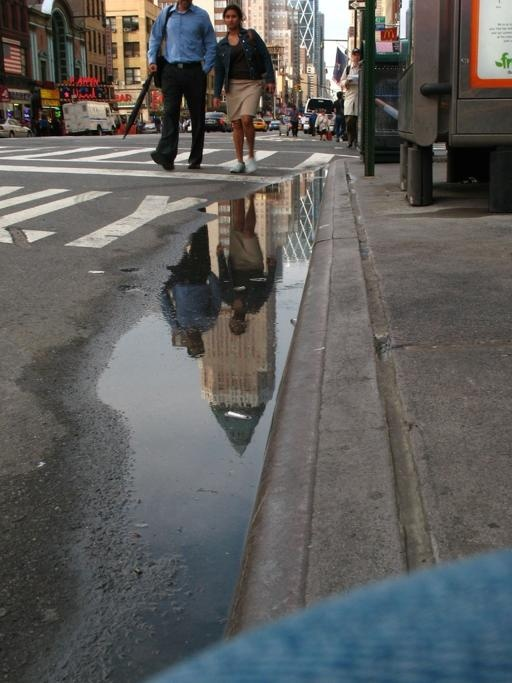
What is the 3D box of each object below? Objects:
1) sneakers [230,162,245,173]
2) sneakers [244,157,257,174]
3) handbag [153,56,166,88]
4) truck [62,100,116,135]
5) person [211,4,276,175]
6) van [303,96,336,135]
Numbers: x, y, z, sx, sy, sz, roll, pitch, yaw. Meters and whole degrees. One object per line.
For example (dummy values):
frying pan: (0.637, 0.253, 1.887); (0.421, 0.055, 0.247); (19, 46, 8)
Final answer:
sneakers: (-0.320, -3.272, 10.430); (0.133, 0.159, 0.373); (16, 41, 30)
sneakers: (-0.099, -3.382, 10.625); (0.164, 0.196, 0.483); (-1, 51, 7)
handbag: (-1.863, -5.144, 10.624); (0.119, 0.518, 0.365); (23, 27, 31)
truck: (-18.484, -24.882, 61.806); (3.200, 2.829, 5.507); (4, 24, 9)
person: (-0.216, -4.581, 10.158); (1.125, 2.875, 0.825); (2, 19, 9)
van: (5.600, -19.452, 49.026); (2.728, 2.933, 5.158); (2, 28, 5)
